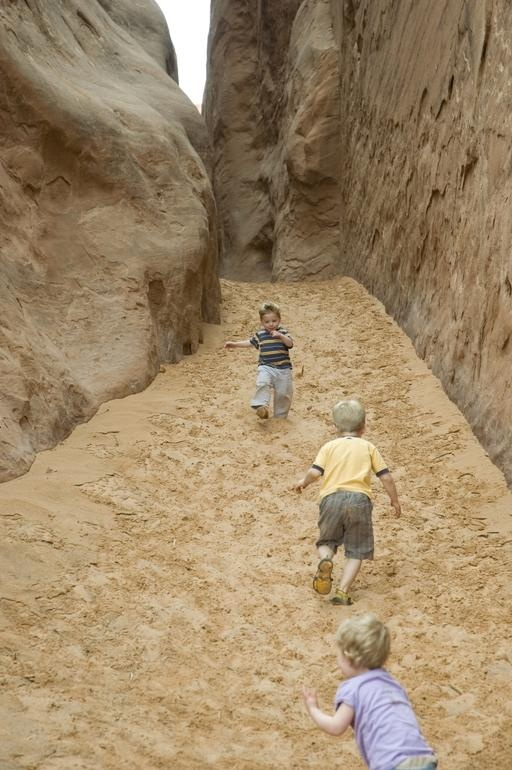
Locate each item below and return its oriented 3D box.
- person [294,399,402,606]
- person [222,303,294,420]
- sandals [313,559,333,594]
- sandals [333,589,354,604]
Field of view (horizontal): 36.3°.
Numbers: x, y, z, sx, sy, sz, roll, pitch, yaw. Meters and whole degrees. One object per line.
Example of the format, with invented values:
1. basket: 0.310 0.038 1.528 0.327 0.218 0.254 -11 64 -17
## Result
1. person: 0.390 0.507 3.338 0.425 0.884 0.180 1 -5 12
2. person: 0.097 -0.151 5.610 0.410 0.794 0.554 0 -5 29
3. sandals: 0.286 0.817 3.294 0.088 0.160 0.080 5 6 5
4. sandals: 0.367 0.899 3.318 0.051 0.046 0.105 2 -9 14
